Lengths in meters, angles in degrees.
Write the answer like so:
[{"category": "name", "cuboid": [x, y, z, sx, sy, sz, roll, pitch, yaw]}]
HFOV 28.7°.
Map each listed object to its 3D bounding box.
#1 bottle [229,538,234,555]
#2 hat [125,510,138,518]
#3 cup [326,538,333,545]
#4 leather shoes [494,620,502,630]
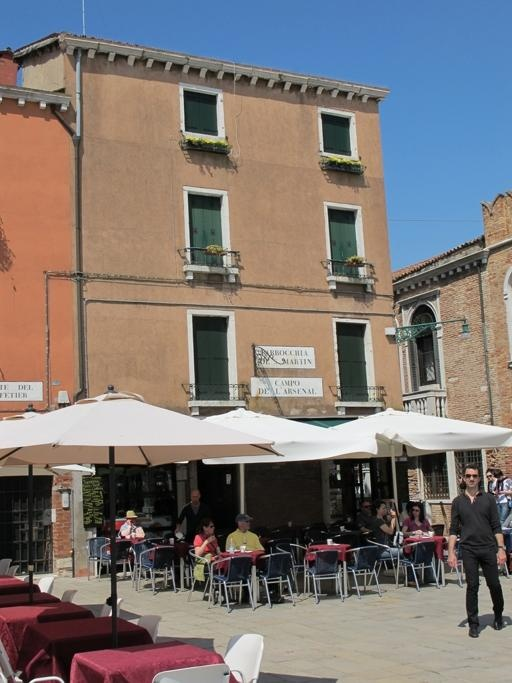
[{"category": "bottle", "cuboid": [-0.361, 3.016, 14.820, 0.091, 0.233, 0.093, -2, 0, 0]}, {"category": "hat", "cuboid": [-2.408, 3.288, 19.049, 0.263, 0.115, 0.294, -1, -9, -3]}, {"category": "cup", "cuboid": [1.110, 3.032, 15.173, 0.067, 0.061, 0.084, 2, -12, -11]}, {"category": "leather shoes", "cuboid": [2.761, 3.228, 11.445, 0.102, 0.111, 0.281, -7, -13, 14]}]
